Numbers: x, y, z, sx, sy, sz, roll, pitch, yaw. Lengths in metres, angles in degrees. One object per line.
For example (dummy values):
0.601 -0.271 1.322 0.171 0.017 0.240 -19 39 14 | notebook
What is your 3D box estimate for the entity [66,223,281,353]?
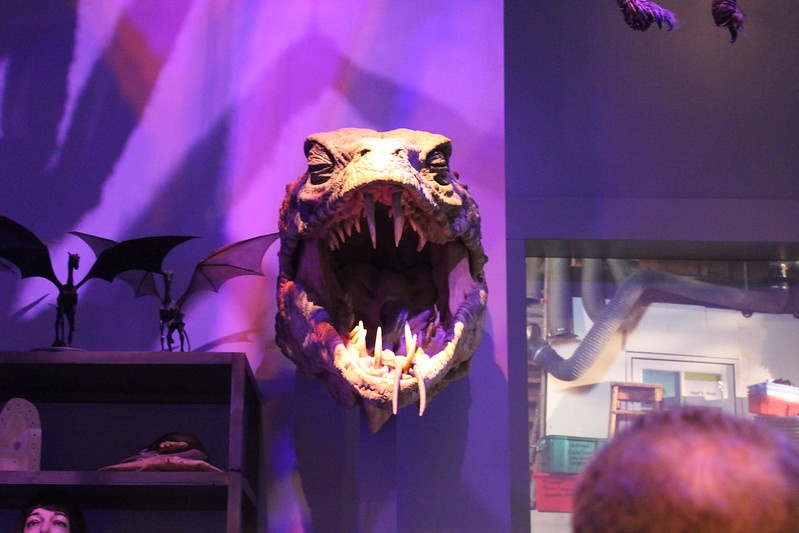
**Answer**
-0.910 0.137 4.376 0.836 0.442 0.378 -2 7 -8 | entity
